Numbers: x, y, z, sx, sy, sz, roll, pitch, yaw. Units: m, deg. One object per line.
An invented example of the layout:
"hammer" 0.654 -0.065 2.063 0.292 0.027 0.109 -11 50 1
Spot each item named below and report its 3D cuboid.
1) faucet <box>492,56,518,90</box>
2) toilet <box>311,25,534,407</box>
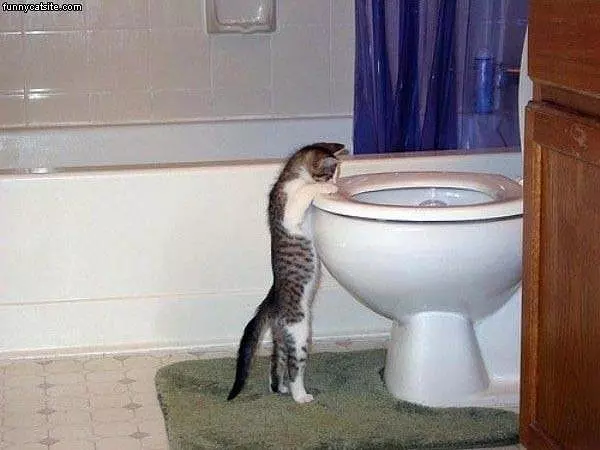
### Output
"faucet" 0.706 -0.519 2.077 0.098 0.062 0.100 5 22 18
"toilet" 0.301 0.054 1.601 0.774 0.834 0.596 -1 5 -1
